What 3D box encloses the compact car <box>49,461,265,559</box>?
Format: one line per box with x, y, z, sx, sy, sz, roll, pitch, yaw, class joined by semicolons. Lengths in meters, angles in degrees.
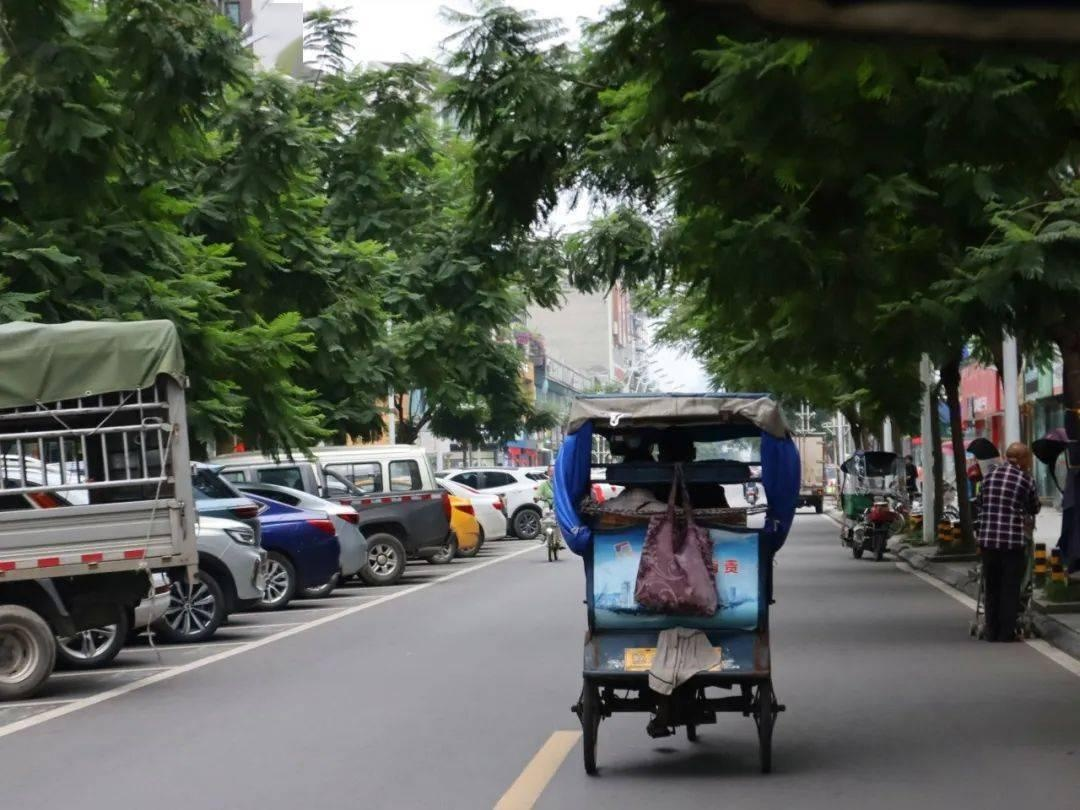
-3.856;1.073;12.124;1.986;1.197;1.225;-1;0;11;compact car

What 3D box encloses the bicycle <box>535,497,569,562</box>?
0.283;2.679;28.041;0.772;1.338;2.175;4;9;5;bicycle

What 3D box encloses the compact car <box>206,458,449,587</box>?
-3.451;1.857;21.283;3.733;1.822;1.859;3;-4;-12;compact car

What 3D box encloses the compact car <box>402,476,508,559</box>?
-1.814;2.442;25.901;3.911;1.749;2.011;2;-4;-14;compact car

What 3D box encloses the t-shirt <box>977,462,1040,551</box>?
5.149;1.099;13.396;0.635;0.990;0.502;-3;-1;21;t-shirt

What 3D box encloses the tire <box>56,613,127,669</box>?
-4.435;2.295;11.942;0.574;0.651;0.225;-6;-19;-4;tire

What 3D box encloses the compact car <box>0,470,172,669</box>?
-4.191;1.814;12.111;2.077;1.359;1.172;8;-9;-21;compact car

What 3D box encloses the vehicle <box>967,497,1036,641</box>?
5.145;1.888;13.503;0.996;0.427;1.447;4;46;21;vehicle

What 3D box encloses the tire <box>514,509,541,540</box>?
-0.380;3.419;35.523;0.777;0.854;0.280;3;19;-33;tire

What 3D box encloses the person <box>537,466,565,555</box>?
0.229;2.634;28.137;0.660;1.304;2.078;-1;16;0;person

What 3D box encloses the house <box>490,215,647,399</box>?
4.200;-11.487;143.078;15.608;32.971;16.529;-3;1;-5;house

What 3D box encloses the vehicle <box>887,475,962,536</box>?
9.658;2.551;30.673;2.317;1.663;1.628;2;-5;7;vehicle

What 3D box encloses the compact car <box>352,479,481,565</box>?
-2.382;2.226;22.825;3.113;1.721;1.767;2;-4;-17;compact car

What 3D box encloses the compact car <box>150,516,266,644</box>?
-3.912;2.139;14.665;1.729;1.134;1.040;2;-3;-9;compact car

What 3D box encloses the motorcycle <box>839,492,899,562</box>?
7.456;2.624;27.282;1.043;1.382;2.361;8;3;3;motorcycle

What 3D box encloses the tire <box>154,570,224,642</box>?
-4.200;2.358;14.561;0.827;0.951;0.318;2;10;-7;tire

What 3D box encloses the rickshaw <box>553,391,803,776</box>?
0.976;1.199;8.496;1.474;2.582;2.604;0;-8;11;rickshaw

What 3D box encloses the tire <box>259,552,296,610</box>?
-3.901;2.496;17.397;0.731;0.813;0.273;10;1;-25;tire

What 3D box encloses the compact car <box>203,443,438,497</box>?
-3.513;1.113;21.297;2.565;1.232;1.375;2;-4;-19;compact car

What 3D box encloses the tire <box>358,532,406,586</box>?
-2.779;2.675;21.156;0.788;0.854;0.277;-25;5;-28;tire
